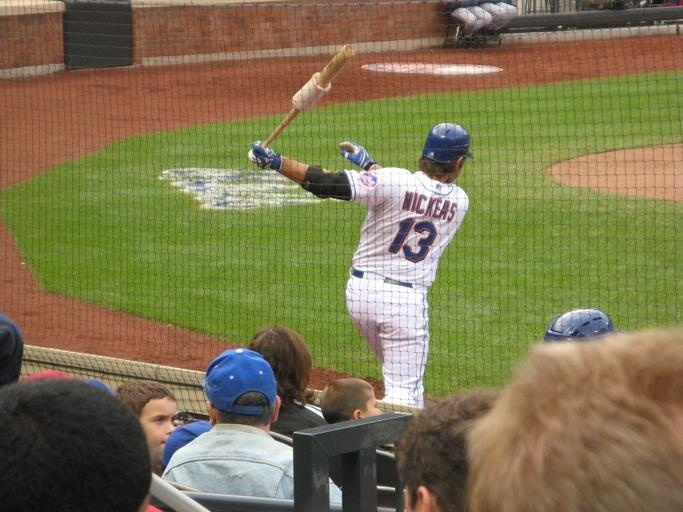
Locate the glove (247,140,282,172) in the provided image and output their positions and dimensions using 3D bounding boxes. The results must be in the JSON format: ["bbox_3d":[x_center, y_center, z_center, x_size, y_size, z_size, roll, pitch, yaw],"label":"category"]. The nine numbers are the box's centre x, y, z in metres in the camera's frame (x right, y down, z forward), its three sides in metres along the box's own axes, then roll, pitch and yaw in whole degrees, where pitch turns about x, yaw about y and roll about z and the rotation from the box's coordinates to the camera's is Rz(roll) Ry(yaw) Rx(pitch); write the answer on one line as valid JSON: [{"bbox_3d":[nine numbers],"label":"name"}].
[{"bbox_3d":[-0.842,-1.209,15.705,0.403,0.306,0.179,31,56,5],"label":"glove"}]

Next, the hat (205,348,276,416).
[{"bbox_3d":[-1.004,1.238,13.212,0.550,0.393,0.721,-4,22,-14],"label":"hat"}]

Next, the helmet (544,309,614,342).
[{"bbox_3d":[2.313,0.676,13.315,0.676,0.269,0.382,-8,3,-18],"label":"helmet"}]
